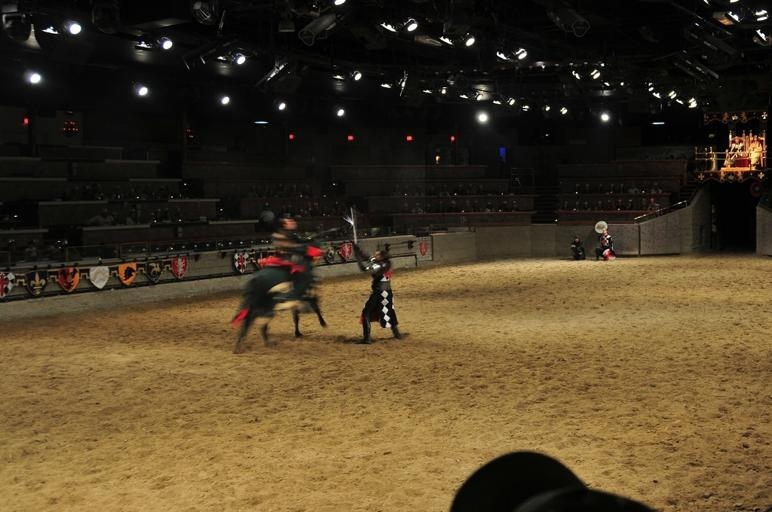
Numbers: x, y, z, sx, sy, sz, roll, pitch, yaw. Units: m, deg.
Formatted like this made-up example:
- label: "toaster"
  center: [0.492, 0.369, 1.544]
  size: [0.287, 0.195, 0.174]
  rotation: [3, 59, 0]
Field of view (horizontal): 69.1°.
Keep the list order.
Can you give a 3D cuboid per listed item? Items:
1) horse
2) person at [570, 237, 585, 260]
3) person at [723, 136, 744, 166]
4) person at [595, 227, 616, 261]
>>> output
- label: "horse"
  center: [-2.350, 0.783, 13.364]
  size: [0.880, 1.871, 3.183]
  rotation: [21, 31, 35]
- label: "person"
  center: [9.202, -0.310, 26.948]
  size: [0.610, 0.971, 0.780]
  rotation: [3, 14, 19]
- label: "person"
  center: [17.649, -5.217, 28.310]
  size: [0.964, 1.420, 0.864]
  rotation: [9, 17, 38]
- label: "person"
  center: [10.375, -0.526, 26.642]
  size: [0.786, 1.513, 1.142]
  rotation: [7, 15, 31]
